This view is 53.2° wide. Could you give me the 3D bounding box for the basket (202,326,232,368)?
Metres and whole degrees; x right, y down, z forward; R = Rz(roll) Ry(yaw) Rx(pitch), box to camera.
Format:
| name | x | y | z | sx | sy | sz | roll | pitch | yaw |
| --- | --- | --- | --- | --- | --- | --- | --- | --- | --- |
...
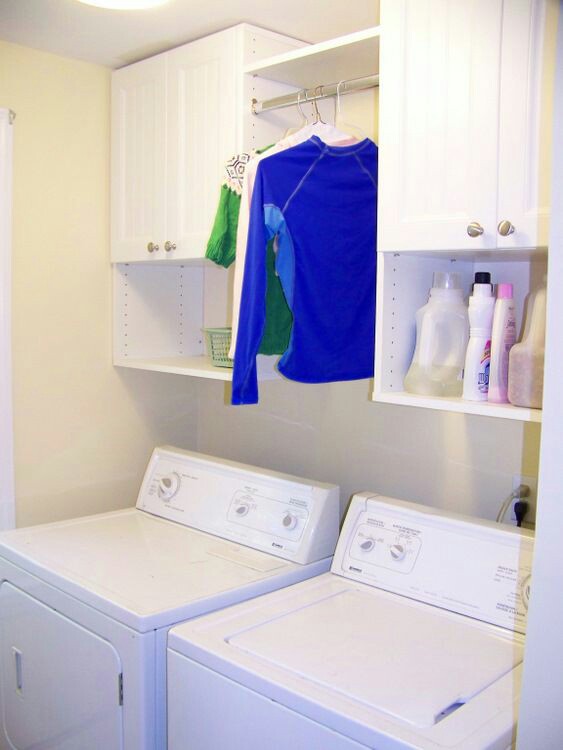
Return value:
| name | x | y | z | sx | sy | sz | roll | pitch | yaw |
| --- | --- | --- | --- | --- | --- | --- | --- | --- | --- |
| basket | -0.203 | -0.102 | 1.779 | 0.104 | 0.111 | 0.122 | 0 | 6 | -7 |
